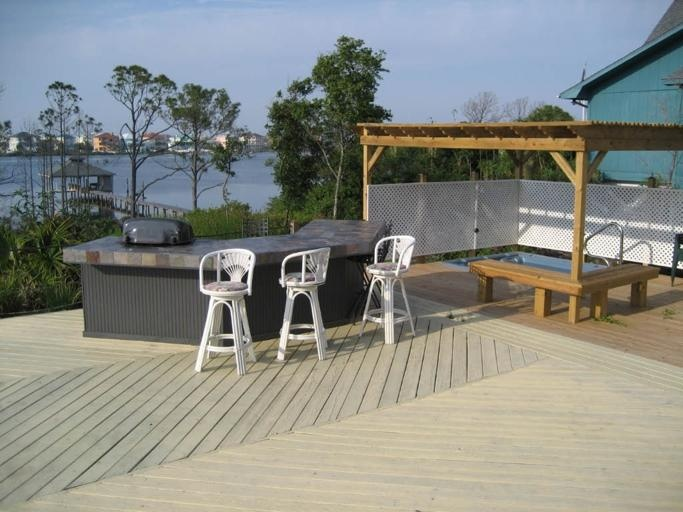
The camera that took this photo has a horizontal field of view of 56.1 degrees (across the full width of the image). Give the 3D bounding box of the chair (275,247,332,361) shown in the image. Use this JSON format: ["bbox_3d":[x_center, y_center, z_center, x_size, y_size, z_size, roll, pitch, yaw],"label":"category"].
[{"bbox_3d":[-0.424,0.448,7.051,0.565,1.221,0.821,0,15,-2],"label":"chair"}]

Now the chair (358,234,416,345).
[{"bbox_3d":[0.607,0.253,7.976,0.647,1.213,1.758,2,15,4],"label":"chair"}]

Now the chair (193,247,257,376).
[{"bbox_3d":[-1.214,0.543,6.688,0.648,1.185,0.911,-2,15,-8],"label":"chair"}]
